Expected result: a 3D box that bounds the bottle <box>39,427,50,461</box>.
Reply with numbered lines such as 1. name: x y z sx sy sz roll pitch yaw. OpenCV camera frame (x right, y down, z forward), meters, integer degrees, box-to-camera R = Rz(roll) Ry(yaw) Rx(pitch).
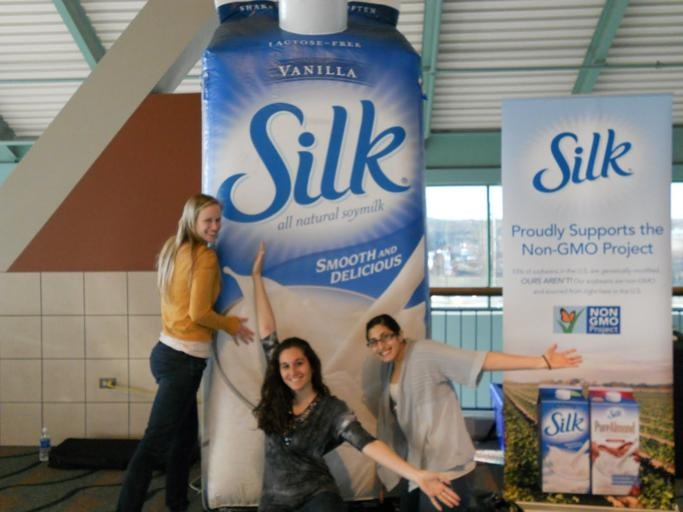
1. bottle: -2.377 1.516 6.315 0.087 0.253 0.245 2 -6 -22
